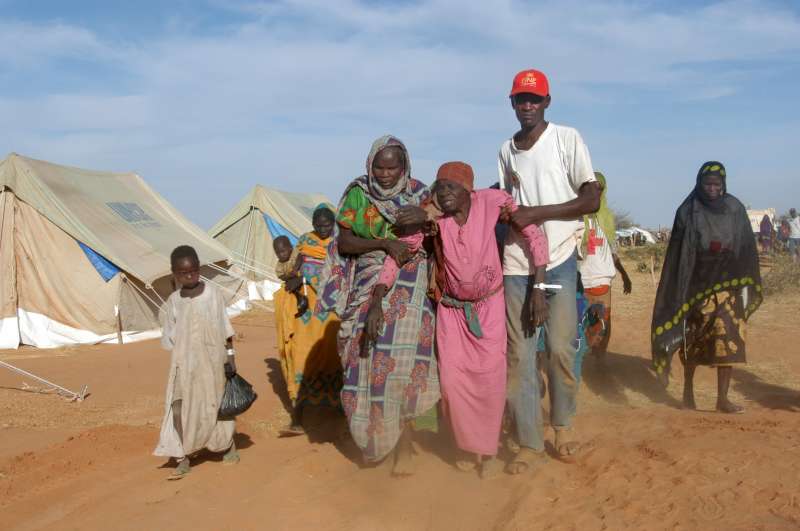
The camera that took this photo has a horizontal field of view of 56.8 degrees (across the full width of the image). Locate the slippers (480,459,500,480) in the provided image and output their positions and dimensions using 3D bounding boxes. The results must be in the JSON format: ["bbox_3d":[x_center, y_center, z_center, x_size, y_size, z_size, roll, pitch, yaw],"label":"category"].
[{"bbox_3d":[0.906,2.054,7.498,0.198,0.200,0.060,9,-13,-30],"label":"slippers"}]

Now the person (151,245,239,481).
[{"bbox_3d":[-2.218,1.186,7.939,0.927,1.996,0.561,-8,11,-20],"label":"person"}]

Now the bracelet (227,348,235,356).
[{"bbox_3d":[-1.844,0.936,8.046,0.071,0.051,0.070,11,-16,-40],"label":"bracelet"}]

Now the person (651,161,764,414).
[{"bbox_3d":[3.710,0.248,8.960,1.196,2.934,0.692,1,12,26],"label":"person"}]

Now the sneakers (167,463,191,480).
[{"bbox_3d":[-2.323,2.166,7.808,0.237,0.220,0.112,-5,-8,-2],"label":"sneakers"}]
